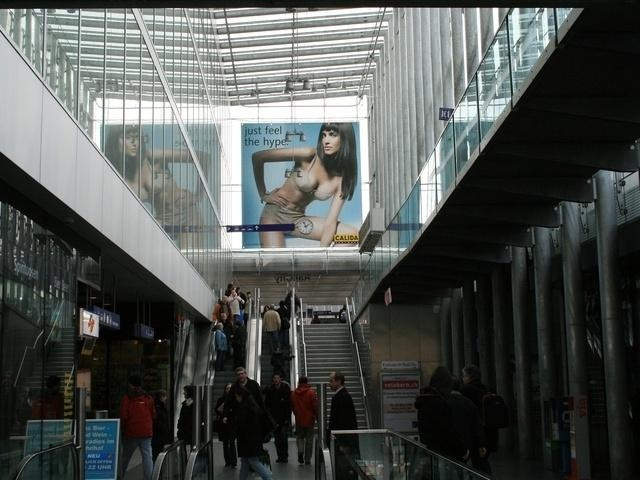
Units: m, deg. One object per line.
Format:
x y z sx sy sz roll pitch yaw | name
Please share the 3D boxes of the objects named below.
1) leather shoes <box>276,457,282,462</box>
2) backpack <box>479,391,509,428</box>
-0.809 4.472 13.997 0.146 0.116 0.049 15 -18 -38 | leather shoes
2.386 2.307 9.322 0.406 0.481 0.151 5 -21 -11 | backpack
